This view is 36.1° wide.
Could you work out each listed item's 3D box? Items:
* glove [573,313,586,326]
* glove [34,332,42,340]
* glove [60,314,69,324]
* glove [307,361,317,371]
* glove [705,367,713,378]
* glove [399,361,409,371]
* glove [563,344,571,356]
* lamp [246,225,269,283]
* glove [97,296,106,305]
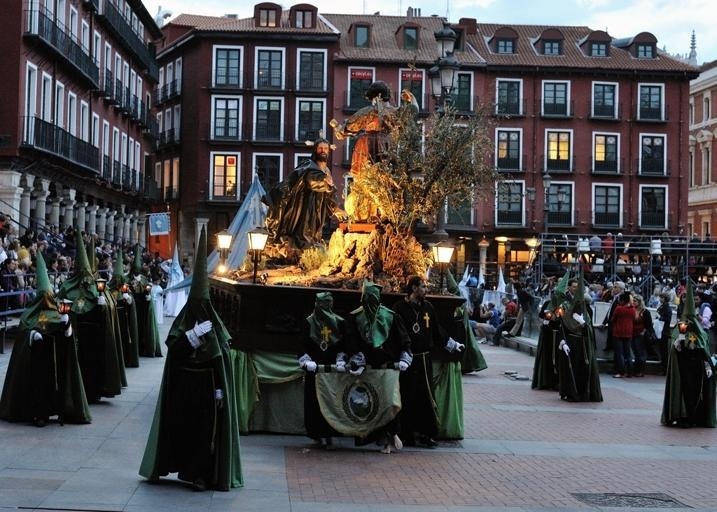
[{"bbox_3d":[5.439,1.631,27.240,0.309,0.229,0.089,46,-27,-25],"label":"glove"},{"bbox_3d":[-6.592,1.698,22.564,0.151,0.141,0.083,4,4,9],"label":"glove"},{"bbox_3d":[-6.085,1.351,22.759,0.176,0.172,0.068,2,1,-11],"label":"glove"},{"bbox_3d":[-0.918,2.241,21.824,0.242,0.163,0.139,0,1,-5],"label":"glove"},{"bbox_3d":[7.915,2.689,24.833,0.155,0.215,0.079,-6,18,-1],"label":"glove"},{"bbox_3d":[0.893,2.268,22.109,0.172,0.121,0.174,12,-8,-43],"label":"glove"},{"bbox_3d":[5.106,2.378,27.026,0.100,0.229,0.170,-8,7,-7],"label":"glove"},{"bbox_3d":[-2.265,0.094,24.449,0.511,1.545,0.451,4,18,-7],"label":"lamp"},{"bbox_3d":[-5.616,1.026,24.060,0.138,0.174,0.064,-7,-1,-1],"label":"glove"}]
